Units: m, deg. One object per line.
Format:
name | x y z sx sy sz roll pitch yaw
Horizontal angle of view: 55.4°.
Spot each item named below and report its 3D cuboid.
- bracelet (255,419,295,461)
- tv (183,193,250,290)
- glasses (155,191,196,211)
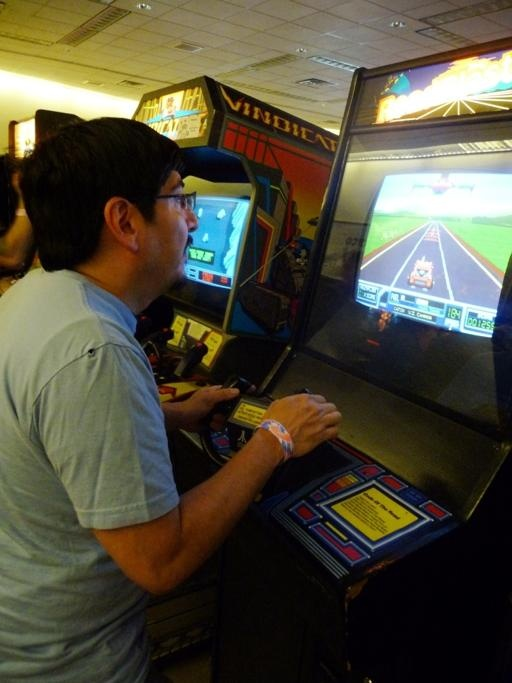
bracelet | 0.042 0.171 0.889 0.061 0.072 0.075 14 9 20
tv | -0.160 -0.485 2.395 0.178 0.424 0.503 0 14 -36
glasses | -0.159 -0.264 0.916 0.059 0.017 0.058 3 9 18
